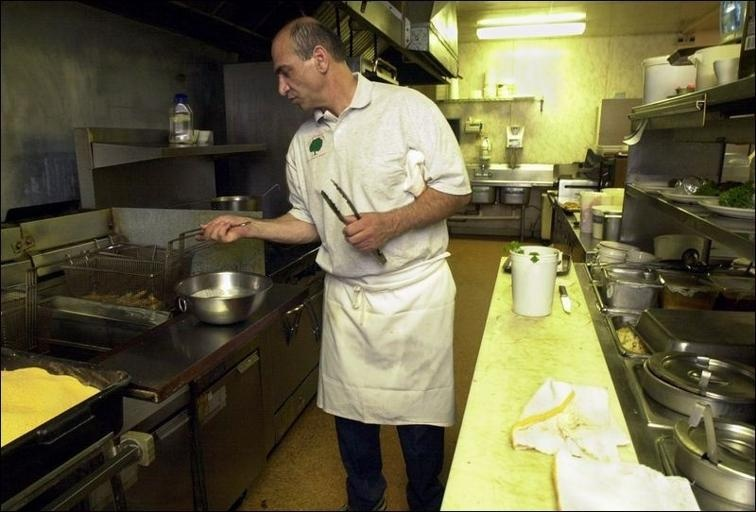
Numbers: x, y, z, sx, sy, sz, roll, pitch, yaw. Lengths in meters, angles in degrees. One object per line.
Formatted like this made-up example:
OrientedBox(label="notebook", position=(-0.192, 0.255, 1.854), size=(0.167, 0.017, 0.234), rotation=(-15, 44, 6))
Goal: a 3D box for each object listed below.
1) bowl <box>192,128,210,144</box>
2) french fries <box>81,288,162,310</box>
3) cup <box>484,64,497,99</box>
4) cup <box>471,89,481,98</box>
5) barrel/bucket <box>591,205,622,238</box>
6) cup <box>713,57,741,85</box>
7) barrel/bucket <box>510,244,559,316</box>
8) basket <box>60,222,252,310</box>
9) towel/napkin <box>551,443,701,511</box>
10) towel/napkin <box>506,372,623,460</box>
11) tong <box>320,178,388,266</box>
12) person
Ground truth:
OrientedBox(label="bowl", position=(-1.210, -0.820, 3.666), size=(0.149, 0.127, 0.102), rotation=(0, 1, -9))
OrientedBox(label="french fries", position=(-1.274, 0.222, 2.613), size=(0.377, 0.092, 0.117), rotation=(-1, 12, -5))
OrientedBox(label="cup", position=(1.762, -2.684, 8.263), size=(0.205, 0.441, 0.272), rotation=(2, 12, 13))
OrientedBox(label="cup", position=(1.559, -2.564, 8.384), size=(0.172, 0.148, 0.165), rotation=(0, 4, 0))
OrientedBox(label="barrel/bucket", position=(1.557, -0.222, 3.614), size=(0.252, 0.166, 0.186), rotation=(1, 6, 30))
OrientedBox(label="cup", position=(1.236, -0.657, 1.874), size=(0.049, 0.089, 0.111), rotation=(0, 12, 3))
OrientedBox(label="barrel/bucket", position=(0.673, 0.106, 2.445), size=(0.299, 0.316, 0.290), rotation=(-2, 12, 1))
OrientedBox(label="basket", position=(-1.229, 0.009, 2.737), size=(0.696, 0.256, 0.414), rotation=(8, 13, 11))
OrientedBox(label="towel/napkin", position=(0.621, 0.598, 1.379), size=(0.192, 0.043, 0.185), rotation=(1, 12, 2))
OrientedBox(label="towel/napkin", position=(0.577, 0.451, 1.581), size=(0.209, 0.050, 0.211), rotation=(3, 27, 14))
OrientedBox(label="tong", position=(-0.113, -0.157, 2.044), size=(0.089, 0.050, 0.392), rotation=(-28, -23, 5))
OrientedBox(label="person", position=(-0.068, 0.129, 2.291), size=(0.901, 2.214, 0.571), rotation=(1, 13, 9))
